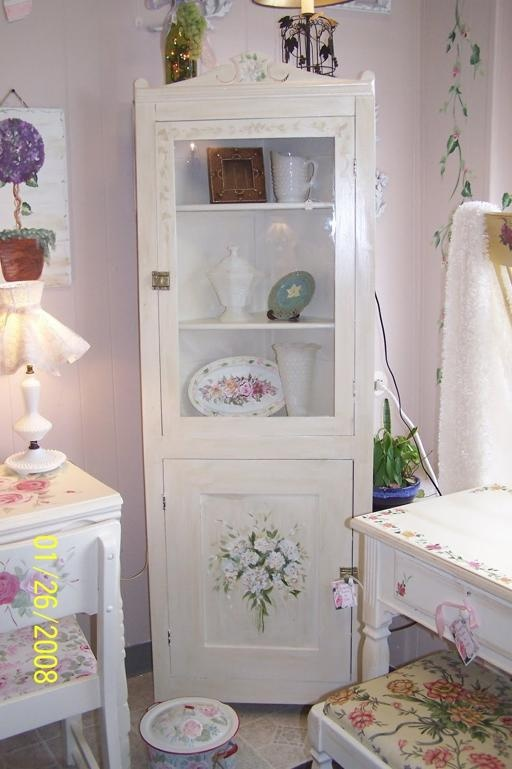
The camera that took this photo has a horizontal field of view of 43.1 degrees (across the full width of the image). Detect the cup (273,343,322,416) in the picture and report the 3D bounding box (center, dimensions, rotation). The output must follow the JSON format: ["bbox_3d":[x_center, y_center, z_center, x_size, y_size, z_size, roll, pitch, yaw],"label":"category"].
[{"bbox_3d":[0.109,-0.014,1.657,0.133,0.202,0.133,1,-14,0],"label":"cup"}]

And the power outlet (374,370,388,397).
[{"bbox_3d":[0.388,-0.005,2.046,0.030,0.081,0.082,-1,-20,19],"label":"power outlet"}]

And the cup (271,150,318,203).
[{"bbox_3d":[0.086,-0.507,1.585,0.128,0.127,0.085,0,27,-2],"label":"cup"}]

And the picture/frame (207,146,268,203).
[{"bbox_3d":[-0.050,-0.517,1.577,0.124,0.114,0.021,0,13,-2],"label":"picture/frame"}]
